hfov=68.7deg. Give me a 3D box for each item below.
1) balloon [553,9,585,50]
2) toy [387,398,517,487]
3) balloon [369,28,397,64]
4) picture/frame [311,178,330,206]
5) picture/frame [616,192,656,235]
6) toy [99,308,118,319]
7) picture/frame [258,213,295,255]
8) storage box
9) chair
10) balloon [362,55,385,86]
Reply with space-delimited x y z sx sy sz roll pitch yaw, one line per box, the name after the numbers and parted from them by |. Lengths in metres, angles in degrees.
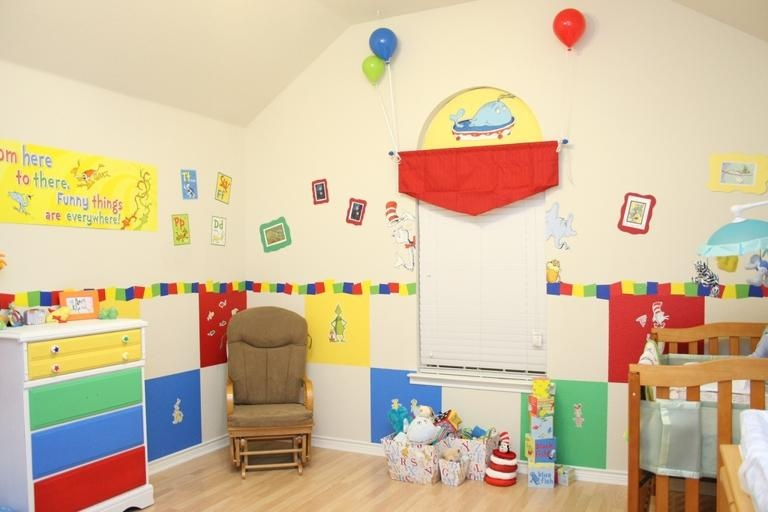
1.525 -1.874 4.701 0.307 0.442 0.280 0 25 21 | balloon
0.519 1.597 4.800 0.816 0.450 0.610 -2 -6 23 | toy
-0.005 -1.926 5.195 0.198 0.342 0.166 -4 19 4 | balloon
-0.618 -0.622 5.483 0.281 0.363 0.024 0 0 20 | picture/frame
2.091 -0.346 4.608 0.291 0.404 0.030 10 0 22 | picture/frame
-2.209 0.465 4.505 0.139 0.092 0.085 -1 4 -35 | toy
-1.094 -0.205 5.644 0.361 0.350 0.075 3 9 25 | picture/frame
0.733 1.561 4.787 1.214 0.493 0.686 -1 -6 15 | storage box
-1.052 1.224 5.106 0.783 1.383 0.812 -2 8 -11 | chair
-0.100 -1.730 5.278 0.194 0.265 0.196 1 6 1 | balloon
